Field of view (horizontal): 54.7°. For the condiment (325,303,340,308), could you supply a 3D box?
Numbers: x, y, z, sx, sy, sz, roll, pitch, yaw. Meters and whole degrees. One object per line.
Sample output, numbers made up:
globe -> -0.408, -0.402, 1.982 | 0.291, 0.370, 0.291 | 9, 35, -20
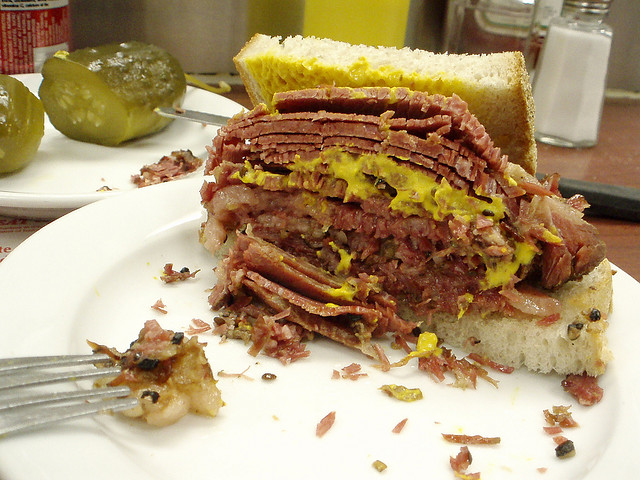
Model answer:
condiment -> 0.051, 0.243, 2.313 | 0.046, 0.012, 0.030 | 3, 40, 0

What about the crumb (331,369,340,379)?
crumb -> 0.060, 0.473, 2.180 | 0.028, 0.010, 0.043 | 7, 40, 4

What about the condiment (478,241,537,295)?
condiment -> 0.665, 0.101, 2.283 | 0.134, 0.214, 0.057 | 34, 18, -30

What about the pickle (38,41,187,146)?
pickle -> -1.083, -0.834, 3.517 | 0.564, 0.424, 0.747 | 12, 23, 21

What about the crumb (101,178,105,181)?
crumb -> -1.034, -0.294, 2.993 | 0.012, 0.003, 0.012 | 4, 15, -5

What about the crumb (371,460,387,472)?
crumb -> 0.181, 0.691, 1.891 | 0.038, 0.011, 0.028 | 31, 47, 29

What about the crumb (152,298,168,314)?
crumb -> -0.592, 0.255, 2.349 | 0.074, 0.019, 0.046 | 30, 47, 28

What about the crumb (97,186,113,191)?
crumb -> -0.984, -0.239, 2.882 | 0.046, 0.014, 0.046 | 1, 14, -2

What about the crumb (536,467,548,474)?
crumb -> 0.679, 0.708, 1.899 | 0.017, 0.006, 0.017 | 13, 30, 43

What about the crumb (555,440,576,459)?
crumb -> 0.767, 0.659, 1.944 | 0.062, 0.031, 0.057 | 0, 40, -4

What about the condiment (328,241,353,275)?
condiment -> 0.083, 0.069, 2.386 | 0.080, 0.123, 0.037 | 5, 2, 33

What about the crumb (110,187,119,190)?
crumb -> -0.951, -0.242, 2.905 | 0.023, 0.010, 0.030 | 0, 5, 1

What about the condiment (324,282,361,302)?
condiment -> 0.085, 0.196, 2.336 | 0.130, 0.061, 0.049 | 1, 40, -3

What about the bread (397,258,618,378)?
bread -> 0.810, 0.224, 2.501 | 0.679, 0.358, 0.597 | 2, 12, 23

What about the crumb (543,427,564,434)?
crumb -> 0.755, 0.620, 2.013 | 0.037, 0.006, 0.022 | -4, 29, 13

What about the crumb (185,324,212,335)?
crumb -> -0.444, 0.329, 2.296 | 0.052, 0.017, 0.034 | 10, 6, 20
